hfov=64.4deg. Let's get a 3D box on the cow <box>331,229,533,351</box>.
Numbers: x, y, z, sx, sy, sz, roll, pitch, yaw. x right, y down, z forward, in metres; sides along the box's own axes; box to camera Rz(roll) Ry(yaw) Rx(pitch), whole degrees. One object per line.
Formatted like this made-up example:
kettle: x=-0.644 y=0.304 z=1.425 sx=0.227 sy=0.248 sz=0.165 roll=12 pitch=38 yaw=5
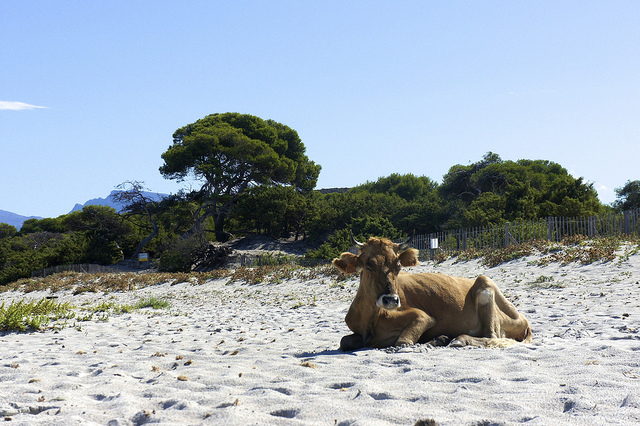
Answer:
cow: x=2.469 y=1.945 z=10.818 sx=4.448 sy=2.485 sz=2.010 roll=9 pitch=-25 yaw=-8
